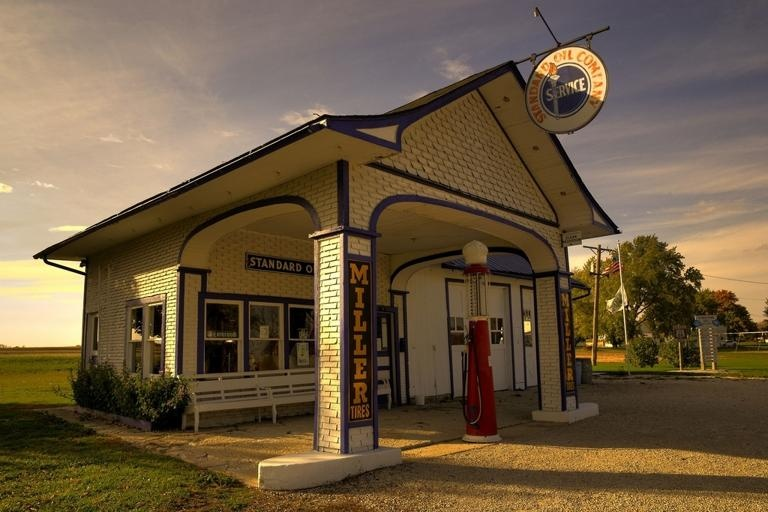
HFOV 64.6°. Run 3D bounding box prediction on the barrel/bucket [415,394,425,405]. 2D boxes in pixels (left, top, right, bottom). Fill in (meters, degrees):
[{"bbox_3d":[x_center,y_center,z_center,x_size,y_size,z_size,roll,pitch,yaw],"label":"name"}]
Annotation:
[{"bbox_3d":[1.081,4.393,18.471,0.251,0.251,0.262,0,-19,0],"label":"barrel/bucket"}]
